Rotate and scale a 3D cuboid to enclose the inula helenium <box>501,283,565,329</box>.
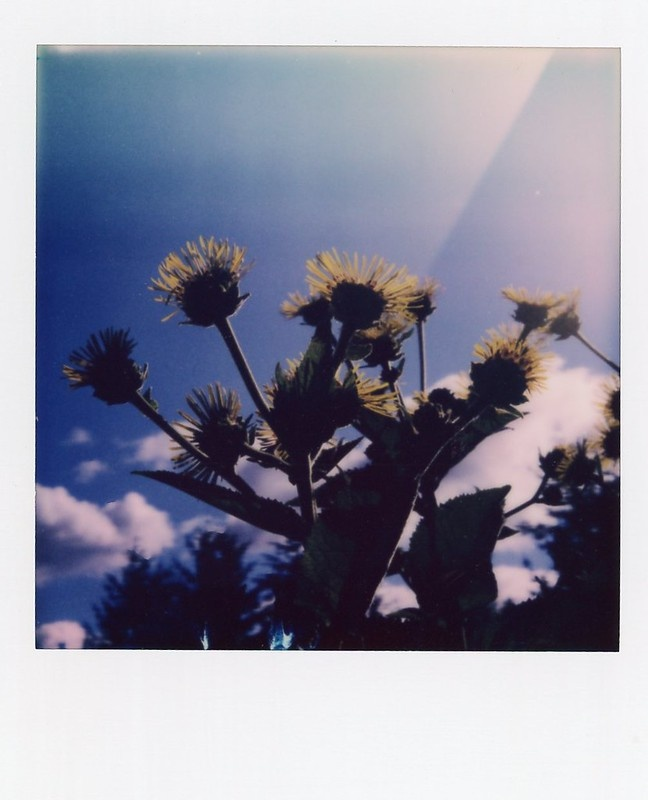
[{"bbox_3d":[0.385,-0.182,2.616,0.075,0.051,0.080,7,-30,49],"label":"inula helenium"}]

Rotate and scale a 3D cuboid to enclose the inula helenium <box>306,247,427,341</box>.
[{"bbox_3d":[0.065,-0.209,2.611,0.145,0.097,0.152,21,13,-27],"label":"inula helenium"}]

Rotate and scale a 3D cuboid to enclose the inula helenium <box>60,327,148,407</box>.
[{"bbox_3d":[-0.392,-0.061,2.662,0.172,0.106,0.173,-16,-24,12],"label":"inula helenium"}]

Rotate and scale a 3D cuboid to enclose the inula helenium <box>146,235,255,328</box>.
[{"bbox_3d":[-0.229,-0.232,2.661,0.180,0.142,0.195,-8,-8,-28],"label":"inula helenium"}]

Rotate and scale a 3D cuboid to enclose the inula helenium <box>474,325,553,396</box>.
[{"bbox_3d":[0.344,-0.049,2.658,0.114,0.142,0.116,26,-16,-24],"label":"inula helenium"}]
